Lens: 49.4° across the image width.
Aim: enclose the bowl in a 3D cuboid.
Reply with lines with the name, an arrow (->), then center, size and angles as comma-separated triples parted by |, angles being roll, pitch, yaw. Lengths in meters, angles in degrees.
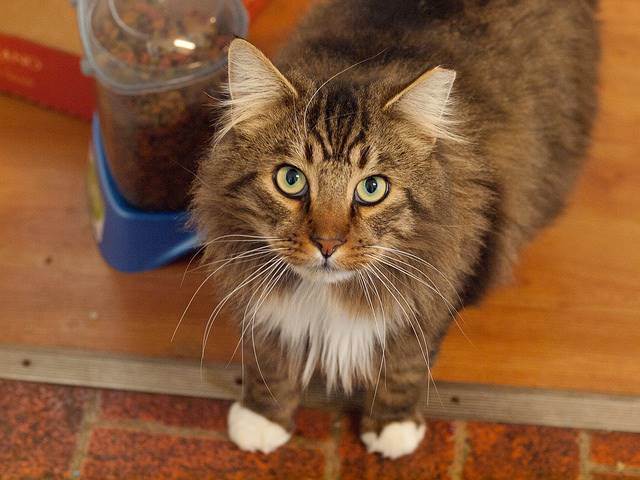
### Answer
bowl -> -0.387, -0.109, 1.817 | 0.382, 0.155, 0.345 | -21, 72, -22
